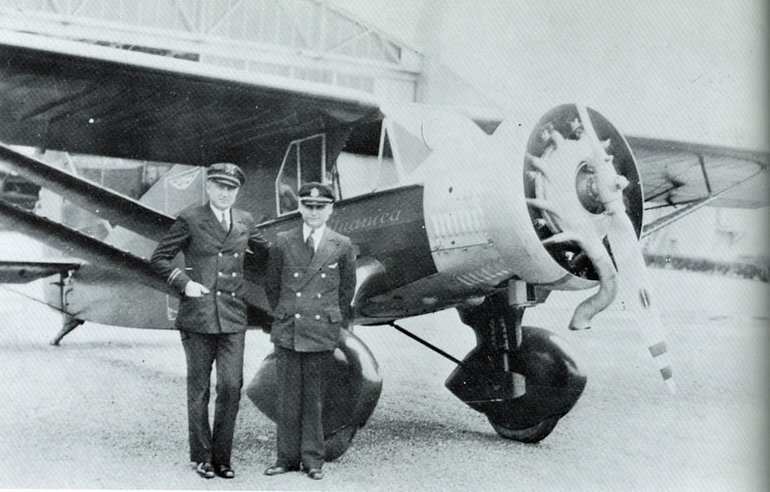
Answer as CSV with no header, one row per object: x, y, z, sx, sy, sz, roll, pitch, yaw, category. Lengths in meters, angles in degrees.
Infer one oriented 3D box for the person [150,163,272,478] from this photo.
-1.049,0.436,6.165,0.545,1.848,0.423,6,7,13,person

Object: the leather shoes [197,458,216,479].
-1.047,1.320,6.055,0.065,0.053,0.132,5,-3,-28,leather shoes

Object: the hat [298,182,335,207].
-0.406,-0.306,6.236,0.186,0.084,0.221,1,0,0,hat

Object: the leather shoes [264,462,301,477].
-0.603,1.331,6.115,0.219,0.084,0.076,4,-7,-5,leather shoes

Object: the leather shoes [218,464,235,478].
-0.936,1.336,6.077,0.049,0.054,0.132,7,-17,-30,leather shoes

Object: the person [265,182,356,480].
-0.457,0.507,6.138,0.520,1.727,0.368,4,7,-4,person
